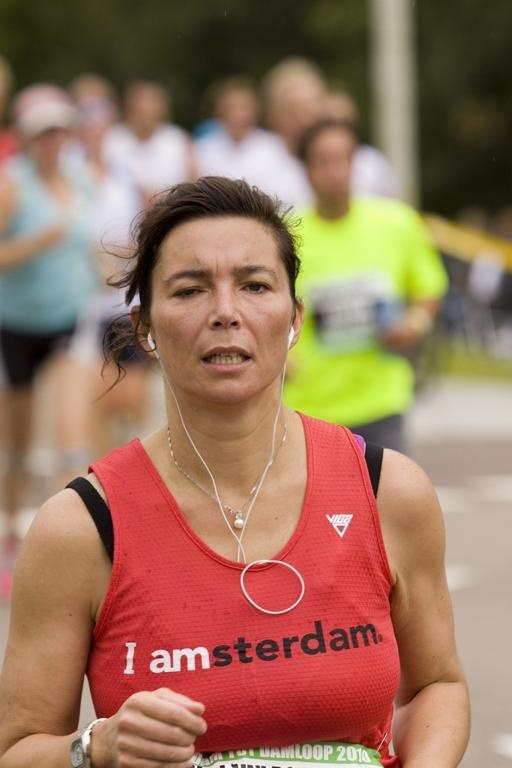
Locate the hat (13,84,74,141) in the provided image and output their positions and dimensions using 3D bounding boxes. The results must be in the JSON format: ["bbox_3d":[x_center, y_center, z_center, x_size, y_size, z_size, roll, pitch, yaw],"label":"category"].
[{"bbox_3d":[-0.836,-1.101,3.584,0.188,0.210,0.419,-18,19,-29],"label":"hat"}]
